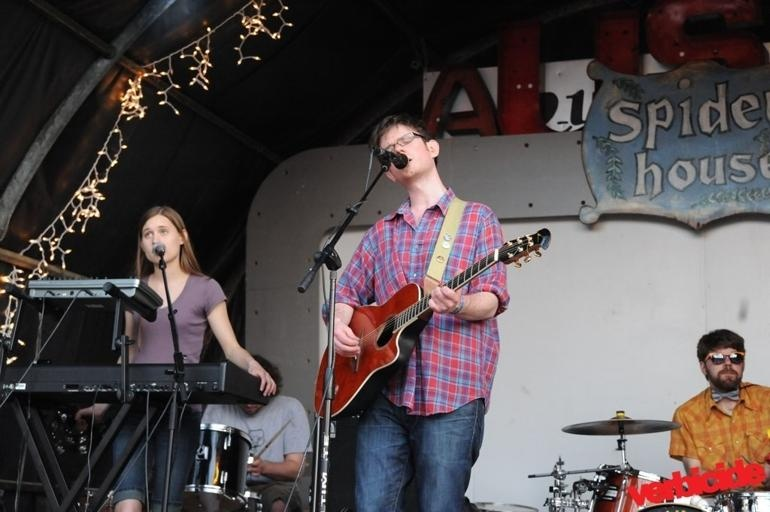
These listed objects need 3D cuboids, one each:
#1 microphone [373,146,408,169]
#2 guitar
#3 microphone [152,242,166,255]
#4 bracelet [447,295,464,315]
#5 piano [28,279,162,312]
[{"bbox_3d":[0.036,-0.501,3.940,0.095,0.062,0.155,13,-6,24],"label":"microphone"},{"bbox_3d":[0.206,0.317,3.753,0.212,0.665,1.494,37,-48,-20],"label":"guitar"},{"bbox_3d":[-1.250,-0.060,4.277,0.058,0.108,0.038,7,-33,-34],"label":"microphone"},{"bbox_3d":[0.340,0.231,3.595,0.028,0.080,0.069,31,-31,-15],"label":"bracelet"},{"bbox_3d":[-1.589,0.188,4.160,0.710,0.137,0.226,6,-19,-10],"label":"piano"}]
